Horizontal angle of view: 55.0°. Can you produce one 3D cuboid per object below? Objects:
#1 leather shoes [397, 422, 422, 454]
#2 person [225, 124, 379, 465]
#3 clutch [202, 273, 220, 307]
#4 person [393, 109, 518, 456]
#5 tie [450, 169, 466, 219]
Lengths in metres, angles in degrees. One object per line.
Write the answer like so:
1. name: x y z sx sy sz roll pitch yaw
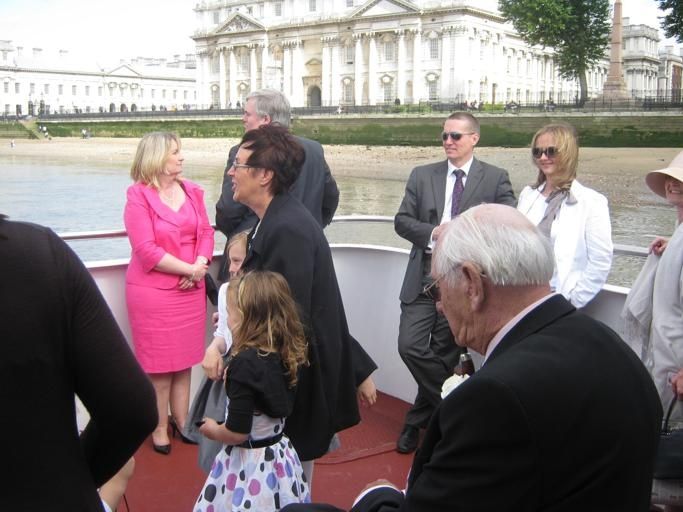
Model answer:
1. leather shoes: 0.362 1.000 3.548 0.068 0.155 0.215 0 -11 20
2. person: -0.202 0.369 2.661 0.555 1.680 0.591 7 10 32
3. clutch: -0.705 0.178 3.547 0.039 0.090 0.175 0 49 -28
4. person: 0.601 0.160 3.670 0.649 1.936 0.536 11 19 31
5. tie: 0.641 -0.354 3.617 0.082 0.465 0.075 -2 -13 17
